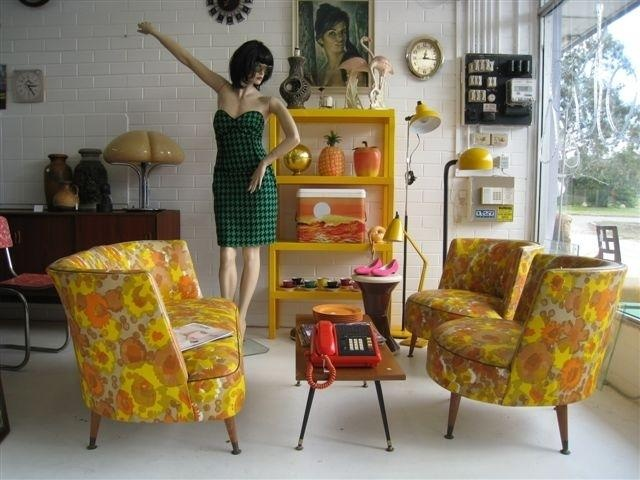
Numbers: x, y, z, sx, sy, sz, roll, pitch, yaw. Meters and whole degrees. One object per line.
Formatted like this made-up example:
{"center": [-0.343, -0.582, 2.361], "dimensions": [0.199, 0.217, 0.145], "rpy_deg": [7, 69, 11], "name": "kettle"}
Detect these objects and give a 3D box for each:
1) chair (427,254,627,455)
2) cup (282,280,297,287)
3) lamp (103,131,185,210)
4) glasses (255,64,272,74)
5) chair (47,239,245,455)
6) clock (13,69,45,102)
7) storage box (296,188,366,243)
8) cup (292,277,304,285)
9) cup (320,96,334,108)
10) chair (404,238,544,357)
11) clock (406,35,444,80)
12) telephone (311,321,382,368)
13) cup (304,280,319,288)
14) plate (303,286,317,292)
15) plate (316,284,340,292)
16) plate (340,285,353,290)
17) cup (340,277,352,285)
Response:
{"center": [1.129, 0.580, 3.301], "dimensions": [1.113, 1.116, 0.960], "rpy_deg": [1, 3, 2], "name": "chair"}
{"center": [-0.263, 0.363, 4.538], "dimensions": [0.078, 0.056, 0.061], "rpy_deg": [2, 1, -5], "name": "cup"}
{"center": [-1.437, -0.542, 4.719], "dimensions": [0.654, 0.689, 0.665], "rpy_deg": [0, -1, -3], "name": "lamp"}
{"center": [-0.387, -1.218, 3.830], "dimensions": [0.054, 0.062, 0.194], "rpy_deg": [5, 15, 19], "name": "glasses"}
{"center": [-0.971, 0.559, 3.382], "dimensions": [0.944, 1.014, 1.637], "rpy_deg": [0, 8, -10], "name": "chair"}
{"center": [-2.607, -1.397, 4.861], "dimensions": [0.285, 0.297, 0.068], "rpy_deg": [-2, 3, 4], "name": "clock"}
{"center": [0.099, -0.201, 4.419], "dimensions": [0.460, 0.351, 0.470], "rpy_deg": [1, 1, 4], "name": "storage box"}
{"center": [-0.188, 0.344, 4.607], "dimensions": [0.052, 0.055, 0.078], "rpy_deg": [-3, -7, 12], "name": "cup"}
{"center": [0.054, -1.160, 4.520], "dimensions": [0.101, 0.077, 0.077], "rpy_deg": [0, 8, -7], "name": "cup"}
{"center": [1.014, 0.437, 3.846], "dimensions": [0.810, 0.888, 0.794], "rpy_deg": [8, 4, -1], "name": "chair"}
{"center": [0.899, -1.584, 4.746], "dimensions": [0.338, 0.348, 0.338], "rpy_deg": [-3, 11, -15], "name": "clock"}
{"center": [0.138, 0.554, 2.835], "dimensions": [0.251, 0.103, 0.276], "rpy_deg": [-2, 22, -1], "name": "telephone"}
{"center": [-0.073, 0.369, 4.552], "dimensions": [0.071, 0.046, 0.064], "rpy_deg": [-3, 5, -42], "name": "cup"}
{"center": [-0.086, 0.397, 4.500], "dimensions": [0.125, 0.043, 0.107], "rpy_deg": [-1, 14, -5], "name": "plate"}
{"center": [0.066, 0.412, 4.513], "dimensions": [0.189, 0.029, 0.104], "rpy_deg": [0, 14, -1], "name": "plate"}
{"center": [0.219, 0.404, 4.534], "dimensions": [0.101, 0.017, 0.086], "rpy_deg": [1, 14, 5], "name": "plate"}
{"center": [0.224, 0.354, 4.601], "dimensions": [0.071, 0.052, 0.056], "rpy_deg": [2, -3, 1], "name": "cup"}
